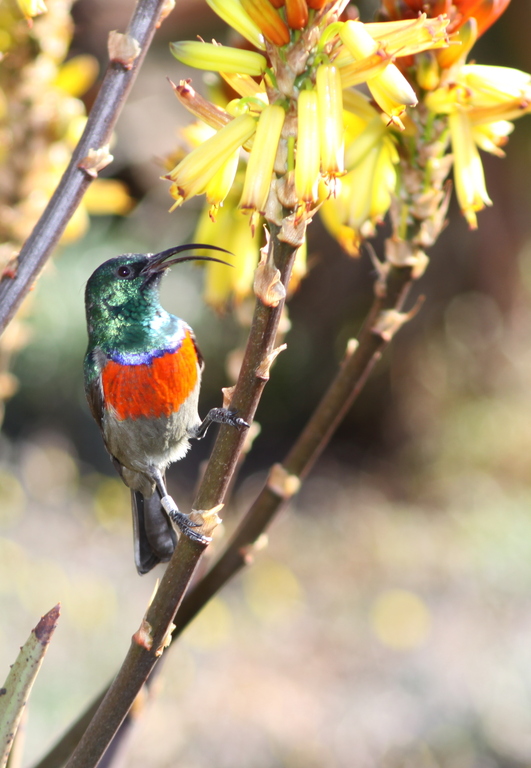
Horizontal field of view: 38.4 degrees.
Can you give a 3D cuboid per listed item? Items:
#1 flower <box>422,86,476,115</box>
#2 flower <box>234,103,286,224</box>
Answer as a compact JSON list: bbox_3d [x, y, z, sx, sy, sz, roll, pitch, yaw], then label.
[{"bbox_3d":[0.357,-0.546,1.472,0.078,0.046,0.032,-5,0,15],"label":"flower"},{"bbox_3d":[-0.007,-0.352,1.126,0.066,0.277,0.067,-19,-61,15],"label":"flower"}]
